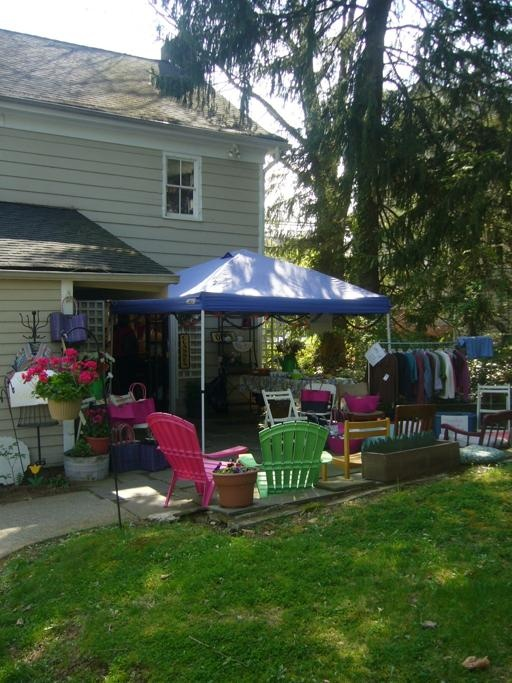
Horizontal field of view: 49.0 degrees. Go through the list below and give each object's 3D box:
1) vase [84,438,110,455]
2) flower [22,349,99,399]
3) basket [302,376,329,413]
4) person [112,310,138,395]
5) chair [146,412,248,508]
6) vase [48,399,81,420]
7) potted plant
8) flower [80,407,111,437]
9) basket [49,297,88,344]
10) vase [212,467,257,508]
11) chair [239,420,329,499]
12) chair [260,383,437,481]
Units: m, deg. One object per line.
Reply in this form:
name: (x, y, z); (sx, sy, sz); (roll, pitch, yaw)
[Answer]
vase: (-1.849, 1.179, 6.477); (0.216, 0.161, 0.218); (0, 2, 6)
flower: (-1.986, 0.357, 5.675); (0.724, 0.517, 0.631); (-3, 3, 2)
basket: (0.899, 0.838, 8.278); (0.382, 0.387, 0.155); (6, -4, 26)
person: (-2.446, 0.237, 10.394); (0.489, 1.448, 0.329); (-4, 0, -13)
chair: (-0.499, 1.082, 5.252); (0.810, 0.802, 0.982); (-1, -3, 20)
vase: (-1.904, 0.668, 5.601); (0.232, 0.157, 0.233); (-1, -8, 2)
potted plant: (1.606, 1.187, 5.867); (1.241, 0.500, 0.344); (-3, 0, -36)
flower: (-1.904, 0.938, 6.653); (0.286, 0.251, 0.381); (0, 14, -6)
basket: (-2.317, -0.245, 6.853); (0.588, 0.577, 0.212); (3, -4, -33)
vase: (-0.196, 1.216, 4.702); (0.317, 0.224, 0.323); (-5, -4, 29)
chair: (0.224, 1.037, 5.298); (0.674, 0.677, 0.750); (1, -2, -11)
chair: (0.911, 0.972, 6.630); (0.884, 0.761, 1.518); (-1, 2, -30)
